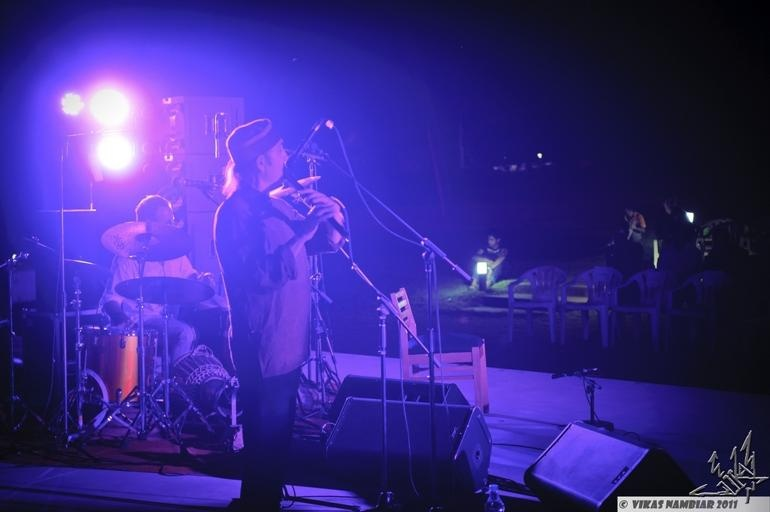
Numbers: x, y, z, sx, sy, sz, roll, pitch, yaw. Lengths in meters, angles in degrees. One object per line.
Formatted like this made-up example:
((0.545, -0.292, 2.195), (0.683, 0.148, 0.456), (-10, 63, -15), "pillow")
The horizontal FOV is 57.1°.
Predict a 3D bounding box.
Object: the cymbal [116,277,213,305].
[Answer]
((-2.328, 0.365, 7.463), (1.021, 0.298, 0.362), (3, -3, -13), "cymbal")

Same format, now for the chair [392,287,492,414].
((0.664, 1.178, 9.055), (1.440, 2.047, 1.155), (-3, -2, 16), "chair")

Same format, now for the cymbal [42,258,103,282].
((-3.637, 0.165, 8.408), (0.373, 0.105, 0.407), (5, -23, 4), "cymbal")

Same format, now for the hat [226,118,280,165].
((-1.192, -1.038, 6.511), (0.462, 0.365, 0.340), (-26, 19, 7), "hat")

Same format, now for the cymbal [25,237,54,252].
((-3.963, -0.129, 8.055), (0.340, 0.167, 0.268), (1, -4, 38), "cymbal")

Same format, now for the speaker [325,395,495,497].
((0.241, 1.824, 6.953), (1.433, 0.796, 0.903), (-3, -6, 27), "speaker")

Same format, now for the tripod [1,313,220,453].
((-3.348, 1.264, 7.756), (1.615, 1.269, 0.519), (2, -3, 7), "tripod")

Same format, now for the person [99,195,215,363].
((-2.672, 0.377, 8.237), (0.916, 2.299, 1.068), (-6, 11, -41), "person")
